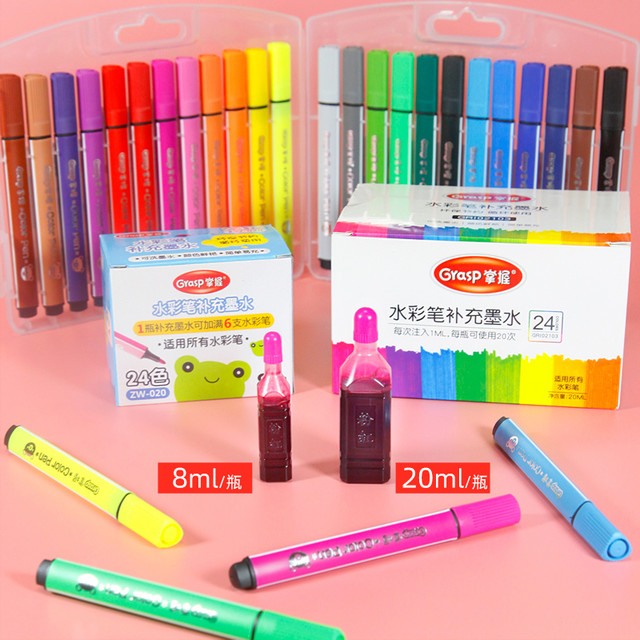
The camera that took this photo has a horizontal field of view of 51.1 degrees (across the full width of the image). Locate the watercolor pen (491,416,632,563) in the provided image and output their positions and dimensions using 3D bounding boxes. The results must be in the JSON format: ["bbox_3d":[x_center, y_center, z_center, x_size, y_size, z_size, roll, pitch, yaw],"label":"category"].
[{"bbox_3d":[0.228,0.154,0.648,0.032,0.028,0.174,-22,31,-11],"label":"watercolor pen"}]

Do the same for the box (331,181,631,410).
[{"bbox_3d":[0.218,-0.026,0.874,0.351,0.205,0.201,0,22,14],"label":"box"}]

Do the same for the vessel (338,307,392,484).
[{"bbox_3d":[0.043,0.078,0.673,0.054,0.180,0.094,-2,2,4],"label":"vessel"}]

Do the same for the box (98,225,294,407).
[{"bbox_3d":[-0.144,0.014,0.869,0.226,0.179,0.128,-1,-2,-5],"label":"box"}]
